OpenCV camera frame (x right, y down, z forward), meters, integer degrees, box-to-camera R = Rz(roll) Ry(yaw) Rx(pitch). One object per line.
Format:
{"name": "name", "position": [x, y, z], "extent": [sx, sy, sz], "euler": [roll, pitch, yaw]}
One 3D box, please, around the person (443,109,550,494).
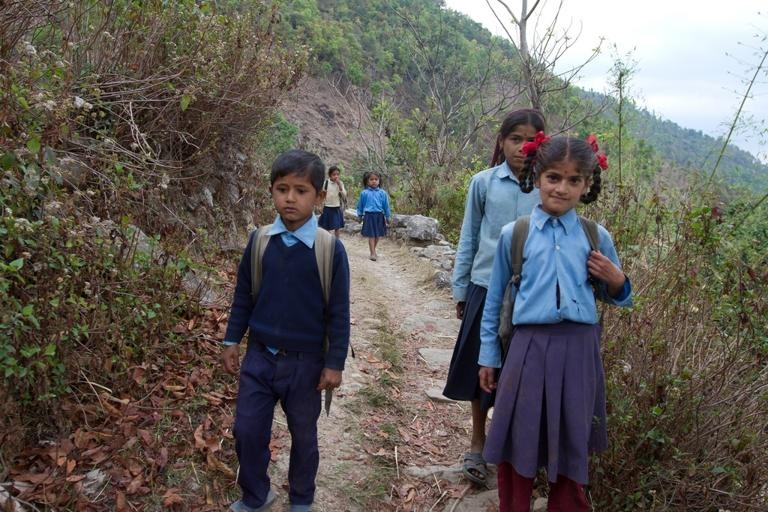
{"name": "person", "position": [0.941, 0.379, 3.982], "extent": [1.004, 2.902, 0.990], "euler": [4, 19, 13]}

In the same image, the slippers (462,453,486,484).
{"name": "slippers", "position": [0.671, 1.564, 4.043], "extent": [0.129, 0.119, 0.312], "euler": [12, 14, -6]}
